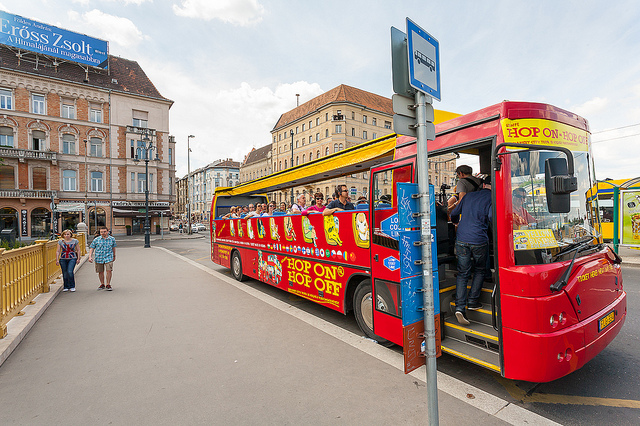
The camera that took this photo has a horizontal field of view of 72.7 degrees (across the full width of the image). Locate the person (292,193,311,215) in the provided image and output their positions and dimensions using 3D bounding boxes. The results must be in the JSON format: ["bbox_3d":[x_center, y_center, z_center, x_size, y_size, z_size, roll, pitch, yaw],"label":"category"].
[{"bbox_3d":[-0.509,-0.106,11.429,0.402,0.492,0.755,-8,6,5],"label":"person"}]

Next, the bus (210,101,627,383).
[{"bbox_3d":[0.664,0.642,11.650,3.884,3.759,12.090,0,-3,-30],"label":"bus"}]

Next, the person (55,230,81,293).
[{"bbox_3d":[-7.296,1.351,12.448,0.568,1.605,1.019,-2,1,-32],"label":"person"}]

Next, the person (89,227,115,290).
[{"bbox_3d":[-6.374,1.298,12.618,0.637,1.541,0.891,-1,1,-27],"label":"person"}]

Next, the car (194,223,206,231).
[{"bbox_3d":[-16.504,1.713,59.052,1.256,1.065,3.020,1,-3,-37],"label":"car"}]

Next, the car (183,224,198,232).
[{"bbox_3d":[-16.765,1.871,55.649,1.081,0.822,2.311,1,-4,-37],"label":"car"}]
